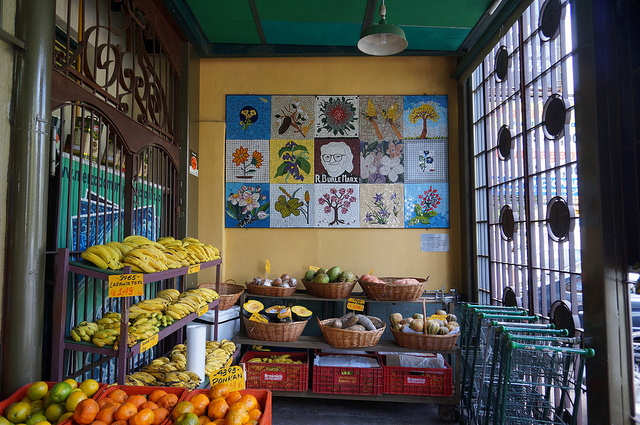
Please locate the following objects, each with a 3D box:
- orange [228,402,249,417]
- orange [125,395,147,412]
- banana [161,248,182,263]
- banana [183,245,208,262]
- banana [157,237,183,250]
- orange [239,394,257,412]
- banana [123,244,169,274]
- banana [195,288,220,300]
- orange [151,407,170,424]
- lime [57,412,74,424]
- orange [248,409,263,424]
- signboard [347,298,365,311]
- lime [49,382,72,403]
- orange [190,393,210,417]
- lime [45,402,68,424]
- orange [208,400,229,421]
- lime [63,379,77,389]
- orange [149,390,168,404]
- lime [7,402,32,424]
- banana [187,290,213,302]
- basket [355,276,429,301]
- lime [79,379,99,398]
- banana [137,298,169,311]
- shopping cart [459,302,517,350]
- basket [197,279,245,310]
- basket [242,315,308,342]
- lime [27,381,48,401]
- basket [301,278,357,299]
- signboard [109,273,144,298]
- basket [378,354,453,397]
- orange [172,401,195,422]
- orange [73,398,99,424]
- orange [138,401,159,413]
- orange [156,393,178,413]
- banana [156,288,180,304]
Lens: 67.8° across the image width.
[{"bbox_3d":[-0.544,1.307,3.216,0.080,0.081,0.092,6,1,-32],"label":"orange"},{"bbox_3d":[-1.270,1.294,3.255,0.083,0.086,0.084,16,-15,-5],"label":"orange"},{"bbox_3d":[-1.276,0.368,4.054,0.124,0.033,0.042,46,33,6],"label":"banana"},{"bbox_3d":[-1.165,0.384,4.454,0.200,0.163,0.157,2,-4,-14],"label":"banana"},{"bbox_3d":[-1.393,0.279,4.391,0.186,0.065,0.107,4,4,39],"label":"banana"},{"bbox_3d":[-0.496,1.307,3.298,0.083,0.084,0.101,11,34,-27],"label":"orange"},{"bbox_3d":[-1.407,0.377,3.779,0.111,0.198,0.260,-10,-13,20],"label":"banana"},{"bbox_3d":[-1.104,0.805,4.729,0.171,0.057,0.102,17,-17,-33],"label":"banana"},{"bbox_3d":[-1.076,1.361,3.205,0.089,0.074,0.069,8,6,4],"label":"orange"},{"bbox_3d":[-1.712,1.358,3.172,0.089,0.051,0.081,5,-6,-41],"label":"lime"},{"bbox_3d":[-0.441,1.372,3.229,0.078,0.067,0.067,38,18,25],"label":"orange"},{"bbox_3d":[0.383,0.960,5.012,0.180,0.138,0.027,4,-16,16],"label":"signboard"},{"bbox_3d":[-1.795,1.217,3.301,0.104,0.104,0.141,33,32,19],"label":"lime"},{"bbox_3d":[-0.834,1.317,3.283,0.113,0.118,0.117,16,22,28],"label":"orange"},{"bbox_3d":[-1.805,1.348,3.223,0.094,0.134,0.099,-8,-32,23],"label":"lime"},{"bbox_3d":[-0.680,1.339,3.275,0.110,0.144,0.119,-8,-49,13],"label":"orange"},{"bbox_3d":[-1.778,1.196,3.364,0.063,0.064,0.062,-3,-4,-40],"label":"lime"},{"bbox_3d":[-1.150,1.277,3.318,0.070,0.052,0.091,0,6,6],"label":"orange"},{"bbox_3d":[-2.042,1.346,3.215,0.097,0.099,0.127,39,-28,-5],"label":"lime"},{"bbox_3d":[-1.159,0.805,4.622,0.112,0.044,0.186,27,2,44],"label":"banana"},{"bbox_3d":[0.787,0.843,5.159,0.720,0.209,0.303,1,-4,3],"label":"basket"},{"bbox_3d":[-1.620,1.215,3.350,0.109,0.113,0.128,-17,4,-20],"label":"lime"},{"bbox_3d":[-1.474,0.780,4.159,0.130,0.063,0.171,10,8,-41],"label":"banana"},{"bbox_3d":[1.638,1.048,4.742,0.434,0.503,0.535,2,1,4],"label":"shopping cart"},{"bbox_3d":[-1.176,0.950,5.685,0.436,0.378,0.485,4,0,-1],"label":"basket"},{"bbox_3d":[-0.422,1.164,4.968,0.585,0.207,0.560,1,1,-31],"label":"basket"},{"bbox_3d":[-2.000,1.255,3.393,0.099,0.133,0.103,37,-3,32],"label":"lime"},{"bbox_3d":[0.097,0.865,5.410,0.593,0.203,0.283,1,-4,-3],"label":"basket"},{"bbox_3d":[-1.480,0.540,3.586,0.177,0.132,0.010,1,-7,-16],"label":"signboard"},{"bbox_3d":[0.988,1.600,4.739,0.490,0.341,0.481,0,-3,3],"label":"basket"},{"bbox_3d":[-0.927,1.313,3.202,0.111,0.102,0.122,32,-22,-15],"label":"orange"},{"bbox_3d":[-1.552,1.304,3.136,0.129,0.175,0.145,20,-27,-27],"label":"orange"},{"bbox_3d":[-1.178,1.313,3.245,0.073,0.078,0.074,-1,-15,4],"label":"orange"},{"bbox_3d":[-1.056,1.300,3.281,0.107,0.110,0.109,36,25,27],"label":"orange"},{"bbox_3d":[-1.407,0.757,4.413,0.139,0.112,0.191,9,-6,-14],"label":"banana"}]
